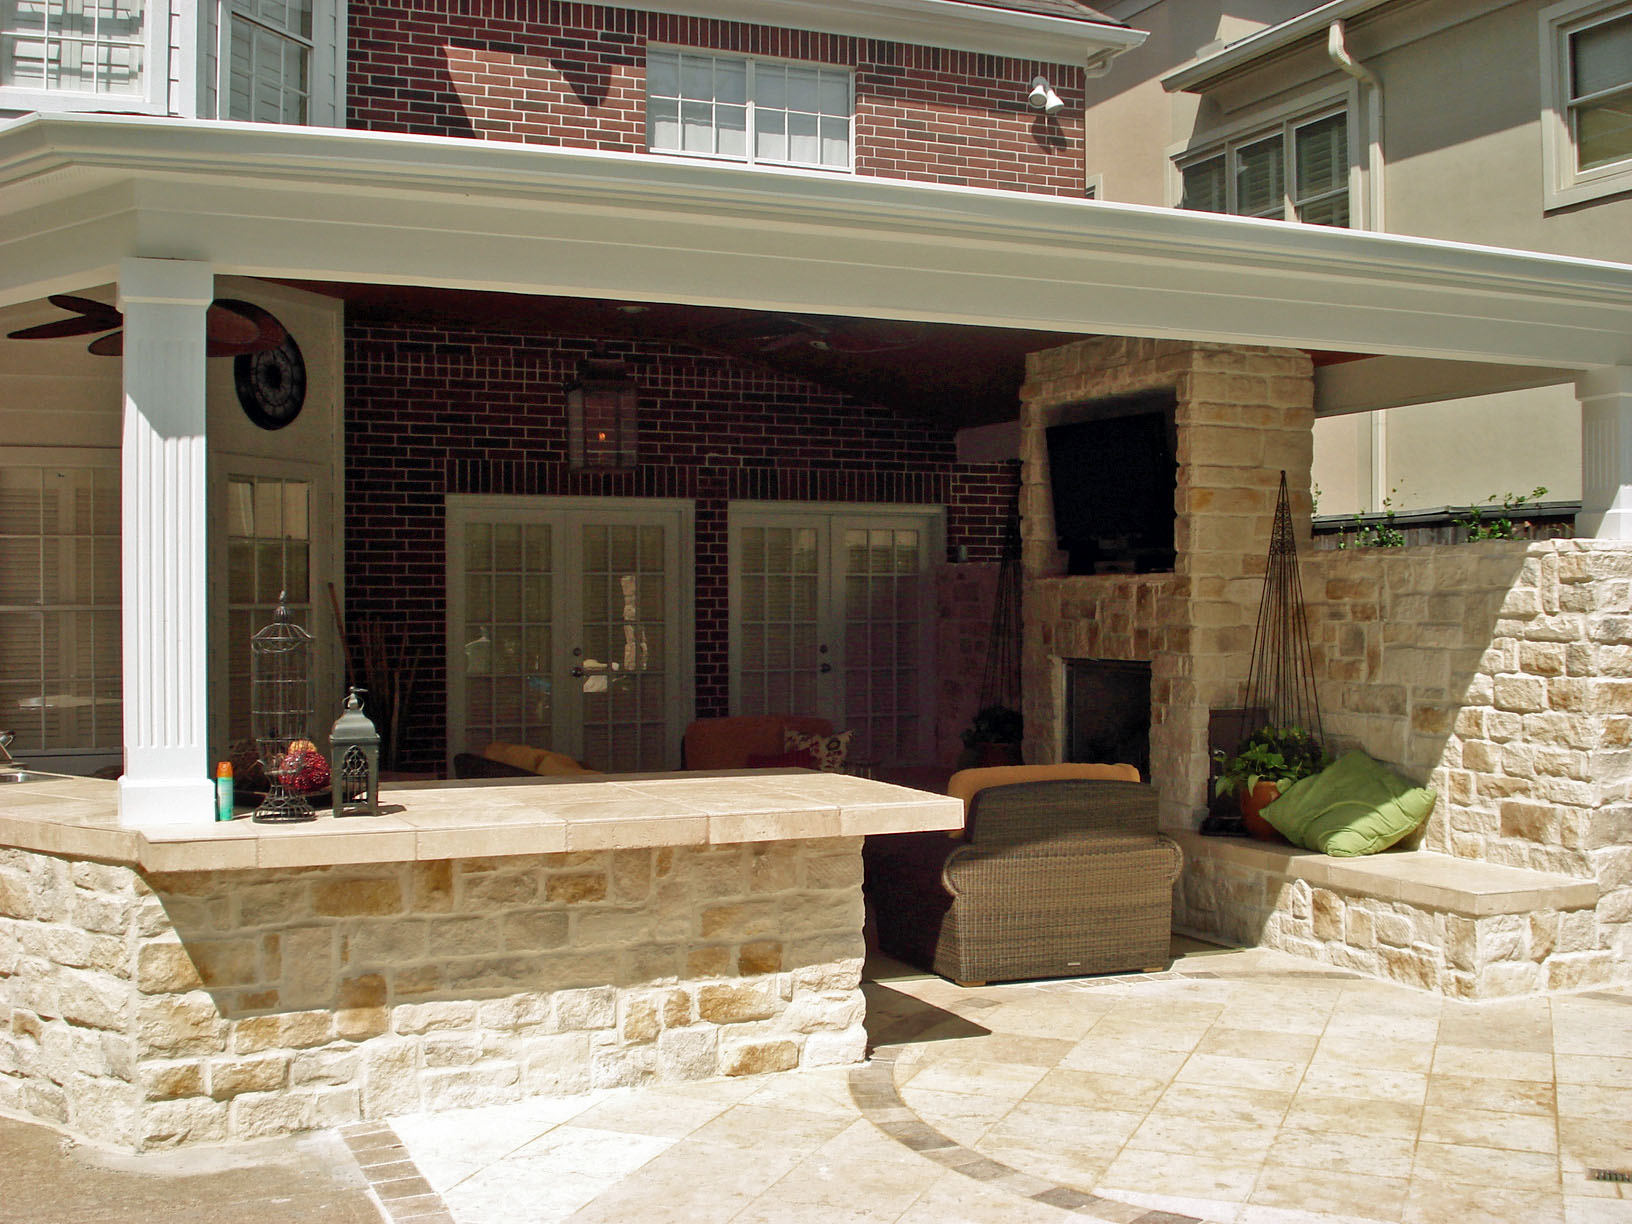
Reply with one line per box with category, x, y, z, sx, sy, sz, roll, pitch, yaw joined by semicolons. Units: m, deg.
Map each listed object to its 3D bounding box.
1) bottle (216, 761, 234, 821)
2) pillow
bottle;-2.393;0.720;6.041;0.063;0.212;0.251;-2;11;-16
pillow;3.093;1.114;8.625;0.693;0.498;0.665;-4;12;-26
